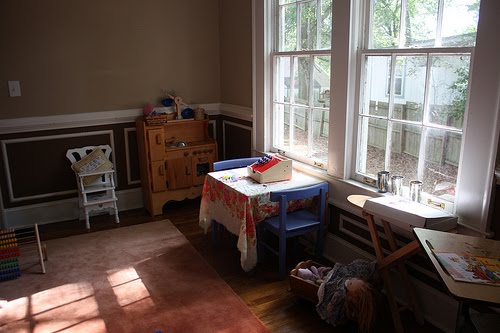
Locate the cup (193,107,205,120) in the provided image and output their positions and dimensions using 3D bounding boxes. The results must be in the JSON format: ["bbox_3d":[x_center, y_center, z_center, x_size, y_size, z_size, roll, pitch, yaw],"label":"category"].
[{"bbox_3d":[-0.753,-0.778,5.099,0.190,0.180,0.144,-8,15,-33],"label":"cup"}]

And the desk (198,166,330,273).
[{"bbox_3d":[0.033,0.377,3.676,1.124,0.683,1.104,-9,18,-31],"label":"desk"}]

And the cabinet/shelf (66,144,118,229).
[{"bbox_3d":[-2.082,0.263,4.575,0.557,0.990,0.605,-12,19,-27],"label":"cabinet/shelf"}]

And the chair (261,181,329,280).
[{"bbox_3d":[0.470,0.643,3.452,0.731,0.910,0.552,-10,24,-26],"label":"chair"}]

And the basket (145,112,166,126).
[{"bbox_3d":[-1.287,-0.647,4.596,0.227,0.095,0.157,-8,18,-23],"label":"basket"}]
